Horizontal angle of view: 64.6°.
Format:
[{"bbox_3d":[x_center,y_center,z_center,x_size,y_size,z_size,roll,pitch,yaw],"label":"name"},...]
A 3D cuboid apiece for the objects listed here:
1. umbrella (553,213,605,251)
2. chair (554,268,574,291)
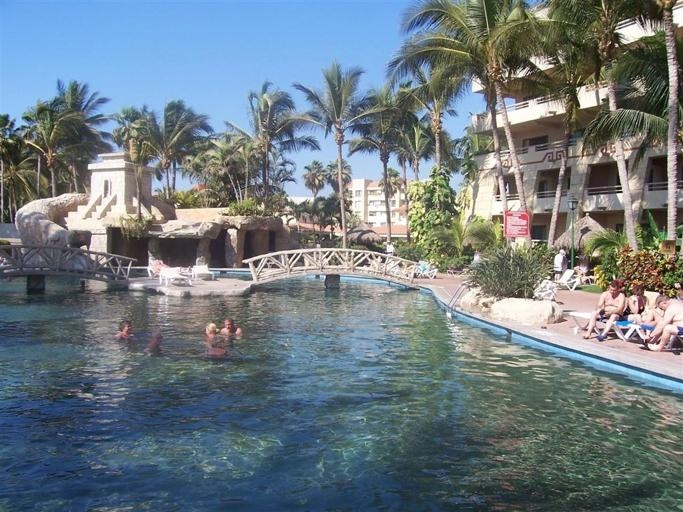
[{"bbox_3d":[11.221,-1.000,25.584,1.694,1.753,5.590,3,7,17],"label":"umbrella"},{"bbox_3d":[9.780,1.032,23.250,0.763,0.951,2.741,4,7,24],"label":"chair"}]
